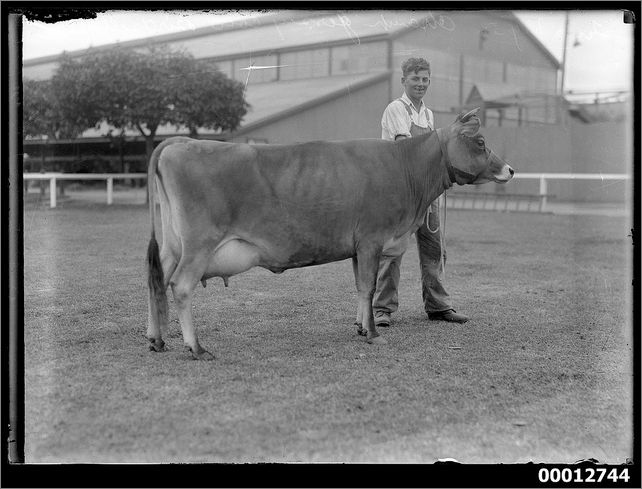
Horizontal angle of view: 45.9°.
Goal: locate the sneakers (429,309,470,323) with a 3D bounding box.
[{"bbox_3d":[1.306,0.691,7.758,0.396,0.201,0.162,-1,3,18],"label":"sneakers"}]
